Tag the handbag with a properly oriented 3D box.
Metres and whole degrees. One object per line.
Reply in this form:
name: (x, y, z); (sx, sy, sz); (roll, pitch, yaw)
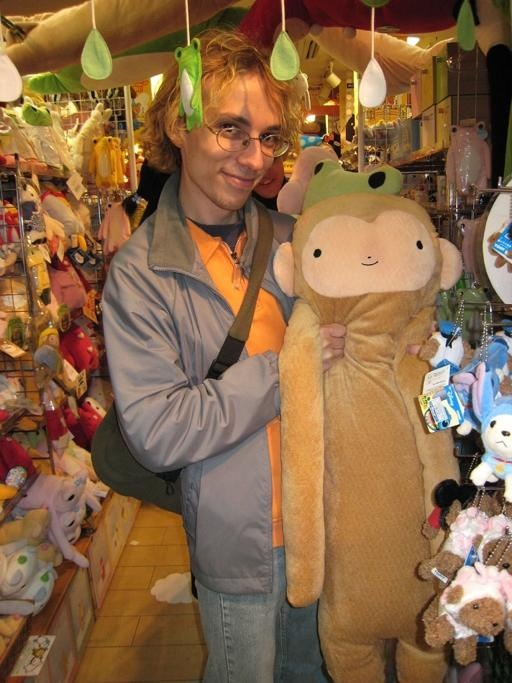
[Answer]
handbag: (-0.344, 0.313, 1.302); (0.315, 0.239, 0.082); (27, 0, -15)
